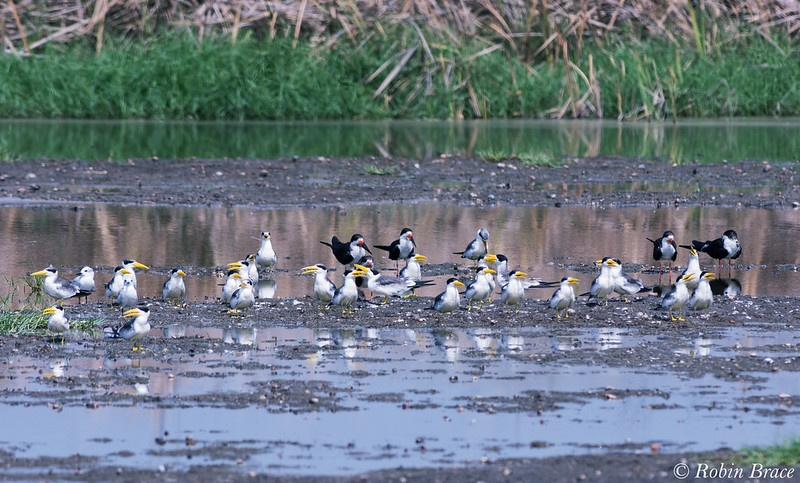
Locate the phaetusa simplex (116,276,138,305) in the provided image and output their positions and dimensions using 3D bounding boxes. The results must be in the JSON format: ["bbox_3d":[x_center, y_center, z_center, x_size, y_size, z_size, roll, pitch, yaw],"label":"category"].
[{"bbox_3d":[-6.926,1.407,38.723,0.568,0.911,0.934,2,-2,-15],"label":"phaetusa simplex"}]

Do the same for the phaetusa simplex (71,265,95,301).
[{"bbox_3d":[-8.285,1.149,39.602,0.579,0.918,1.084,1,-4,-28],"label":"phaetusa simplex"}]

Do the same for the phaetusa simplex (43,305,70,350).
[{"bbox_3d":[-8.326,2.062,37.065,0.528,0.979,1.249,0,2,-3],"label":"phaetusa simplex"}]

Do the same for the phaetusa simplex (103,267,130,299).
[{"bbox_3d":[-7.336,1.104,39.077,0.482,0.981,1.047,-6,9,-43],"label":"phaetusa simplex"}]

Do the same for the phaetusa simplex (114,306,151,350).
[{"bbox_3d":[-6.452,2.110,36.739,0.637,1.023,0.812,-9,16,-37],"label":"phaetusa simplex"}]
